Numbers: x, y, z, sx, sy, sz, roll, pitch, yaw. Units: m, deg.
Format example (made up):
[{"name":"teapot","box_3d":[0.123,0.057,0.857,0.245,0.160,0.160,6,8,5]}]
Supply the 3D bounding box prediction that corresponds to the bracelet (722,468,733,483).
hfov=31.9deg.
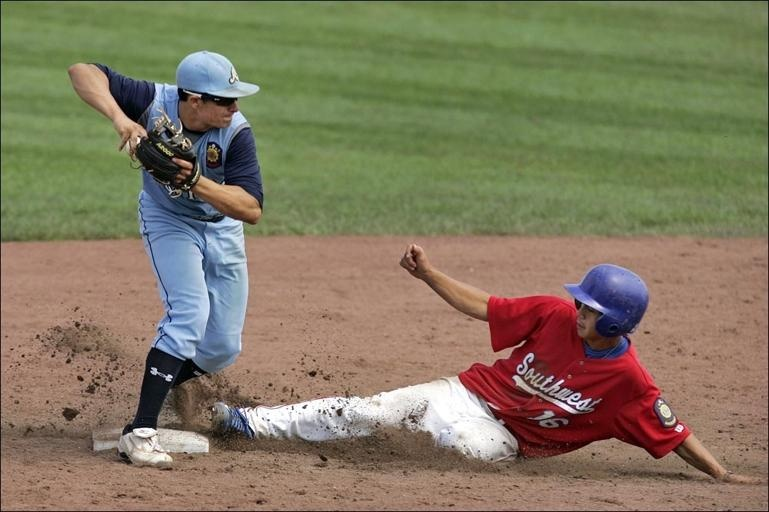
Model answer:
[{"name":"bracelet","box_3d":[3.676,2.361,14.496,0.088,0.057,0.143,-32,51,-14]}]

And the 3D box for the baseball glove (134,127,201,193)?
[{"name":"baseball glove","box_3d":[-2.299,-1.023,14.231,0.554,0.713,0.353,23,59,39]}]
